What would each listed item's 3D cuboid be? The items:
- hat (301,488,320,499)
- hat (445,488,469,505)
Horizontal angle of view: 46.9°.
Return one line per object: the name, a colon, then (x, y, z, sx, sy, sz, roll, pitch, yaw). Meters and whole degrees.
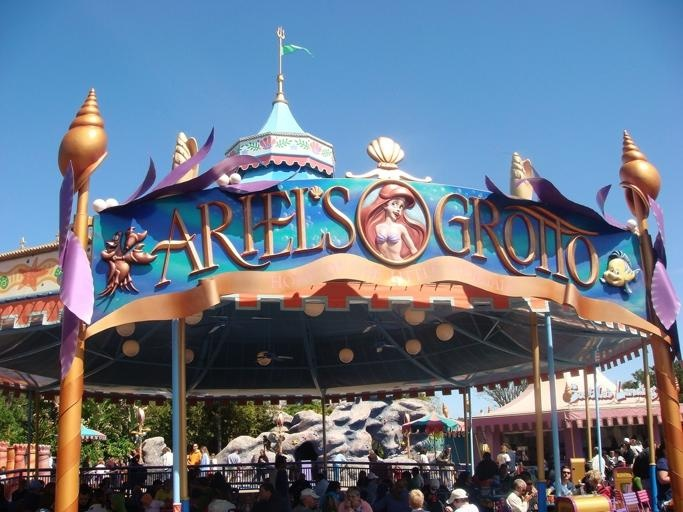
hat: (-0.612, 4.453, 14.965, 0.276, 0.209, 0.372, -3, -21, -3)
hat: (2.087, 4.170, 13.869, 0.250, 0.237, 0.716, -5, -21, 2)
